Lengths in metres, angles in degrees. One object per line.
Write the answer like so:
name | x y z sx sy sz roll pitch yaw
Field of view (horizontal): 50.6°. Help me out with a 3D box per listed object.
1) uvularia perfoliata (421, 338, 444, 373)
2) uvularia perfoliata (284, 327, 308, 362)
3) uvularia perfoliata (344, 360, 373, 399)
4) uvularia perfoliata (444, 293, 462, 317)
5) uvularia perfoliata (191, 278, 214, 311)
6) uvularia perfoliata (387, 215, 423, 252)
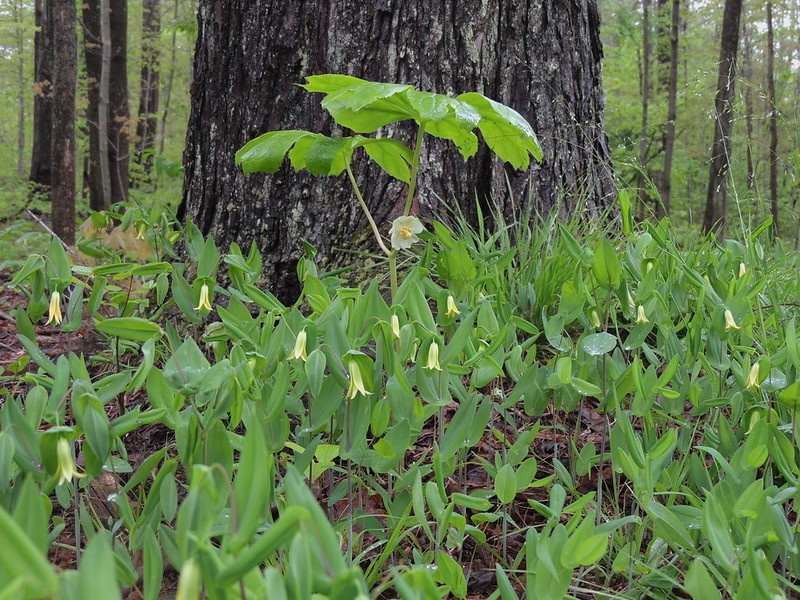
uvularia perfoliata | 0.131 0.219 3.353 0.072 0.150 0.078 -3 9 0
uvularia perfoliata | -0.394 0.153 3.363 0.090 0.152 0.094 -9 22 -43
uvularia perfoliata | -0.164 0.301 3.243 0.102 0.149 0.107 -16 13 -24
uvularia perfoliata | 0.219 0.018 3.520 0.059 0.090 0.069 -12 -5 -6
uvularia perfoliata | -0.823 -0.024 3.553 0.086 0.155 0.102 3 -4 -9
uvularia perfoliata | 0.027 -0.317 3.900 0.153 0.148 0.191 -1 13 -14
